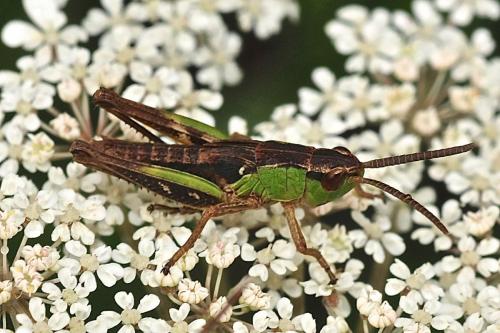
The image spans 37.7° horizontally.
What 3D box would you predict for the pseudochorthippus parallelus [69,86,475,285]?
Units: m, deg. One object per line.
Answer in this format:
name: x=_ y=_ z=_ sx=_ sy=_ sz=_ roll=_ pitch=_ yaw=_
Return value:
pseudochorthippus parallelus: x=0.045 y=0.095 z=3.505 sx=1.844 sy=0.973 sz=0.516 roll=8 pitch=-43 yaw=12
